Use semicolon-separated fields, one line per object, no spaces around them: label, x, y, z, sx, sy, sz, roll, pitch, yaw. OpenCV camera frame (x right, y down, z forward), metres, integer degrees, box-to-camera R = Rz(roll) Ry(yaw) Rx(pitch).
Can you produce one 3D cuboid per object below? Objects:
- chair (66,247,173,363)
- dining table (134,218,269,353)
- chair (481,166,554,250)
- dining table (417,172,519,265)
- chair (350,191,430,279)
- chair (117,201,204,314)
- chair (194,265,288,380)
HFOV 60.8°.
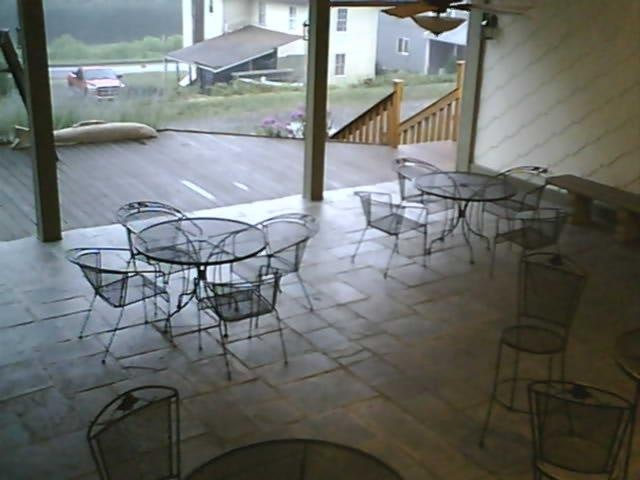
chair;-1.847;0.640;5.032;0.717;0.759;0.619;-20;41;-33
dining table;-1.223;0.424;5.330;1.331;0.879;1.266;17;29;23
chair;2.445;-0.382;6.708;0.839;0.958;0.774;-8;31;-13
dining table;1.743;-0.271;6.637;1.181;0.746;1.082;5;0;1
chair;0.810;-0.104;6.626;0.856;0.912;0.728;5;7;-8
chair;-1.582;0.216;5.363;0.855;1.011;0.800;-24;40;-38
chair;-0.656;0.593;4.739;0.711;0.874;0.882;-3;25;-8
